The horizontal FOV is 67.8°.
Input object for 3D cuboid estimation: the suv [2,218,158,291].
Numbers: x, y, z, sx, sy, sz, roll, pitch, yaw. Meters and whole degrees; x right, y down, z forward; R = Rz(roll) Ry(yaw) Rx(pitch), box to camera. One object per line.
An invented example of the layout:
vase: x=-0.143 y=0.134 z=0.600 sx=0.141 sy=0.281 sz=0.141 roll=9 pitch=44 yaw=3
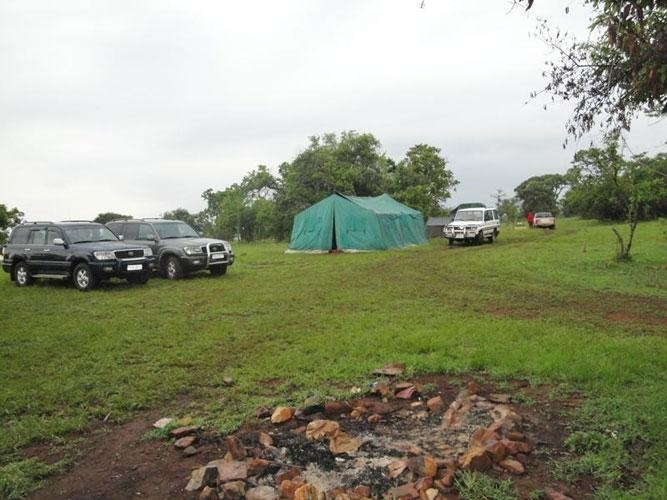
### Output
suv: x=-7.496 y=0.234 z=14.623 sx=3.786 sy=1.733 sz=2.058 roll=0 pitch=2 yaw=23

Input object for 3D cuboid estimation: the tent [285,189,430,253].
tent: x=1.199 y=-1.504 z=26.740 sx=7.275 sy=3.110 sz=4.323 roll=-4 pitch=8 yaw=-10

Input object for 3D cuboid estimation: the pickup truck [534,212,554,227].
pickup truck: x=16.501 y=-2.375 z=39.200 sx=1.000 sy=0.916 sz=2.255 roll=0 pitch=8 yaw=16

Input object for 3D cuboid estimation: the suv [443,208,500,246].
suv: x=7.539 y=-1.273 z=27.234 sx=1.938 sy=1.950 sz=3.620 roll=3 pitch=9 yaw=38
